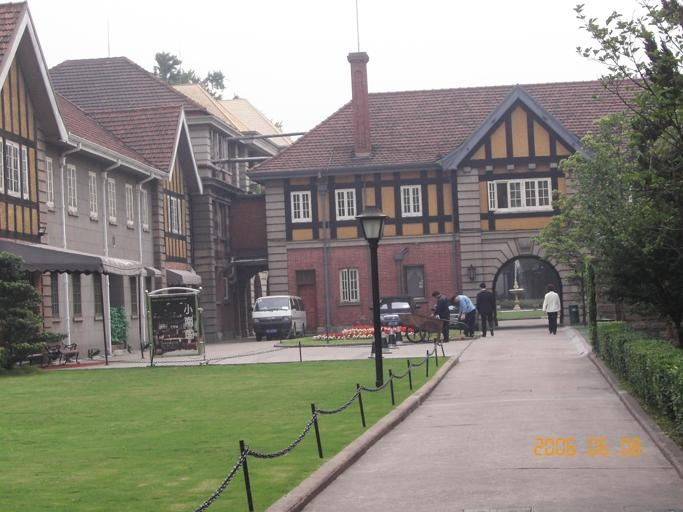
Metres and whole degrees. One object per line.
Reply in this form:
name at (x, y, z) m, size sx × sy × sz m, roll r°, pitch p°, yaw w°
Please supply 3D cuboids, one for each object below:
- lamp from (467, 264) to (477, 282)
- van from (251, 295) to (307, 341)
lamp at (6.030, 0.809, 47.907) m, size 0.453 × 0.786 × 0.168 m, roll -5°, pitch -6°, yaw 13°
van at (-2.826, 2.787, 47.498) m, size 1.982 × 1.824 × 3.706 m, roll -2°, pitch -5°, yaw 10°
